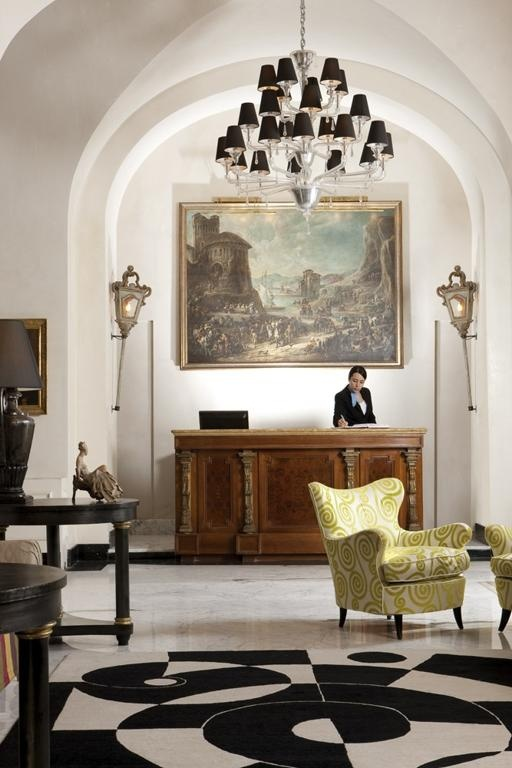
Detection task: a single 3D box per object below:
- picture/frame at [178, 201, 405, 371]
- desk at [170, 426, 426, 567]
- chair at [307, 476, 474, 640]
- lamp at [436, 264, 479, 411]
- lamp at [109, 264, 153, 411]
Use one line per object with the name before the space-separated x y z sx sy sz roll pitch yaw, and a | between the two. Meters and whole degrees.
picture/frame | 0.365 -1.020 8.739 1.931 1.343 0.067 -1 -1 2
desk | 0.417 1.072 7.535 2.286 1.284 0.617 0 -6 0
chair | 0.801 1.070 5.103 0.914 1.006 0.993 6 -12 -38
lamp | 2.140 -0.461 8.401 0.403 1.504 0.589 -1 -5 12
lamp | -1.320 -0.471 8.365 0.390 1.501 0.685 0 -5 -9
